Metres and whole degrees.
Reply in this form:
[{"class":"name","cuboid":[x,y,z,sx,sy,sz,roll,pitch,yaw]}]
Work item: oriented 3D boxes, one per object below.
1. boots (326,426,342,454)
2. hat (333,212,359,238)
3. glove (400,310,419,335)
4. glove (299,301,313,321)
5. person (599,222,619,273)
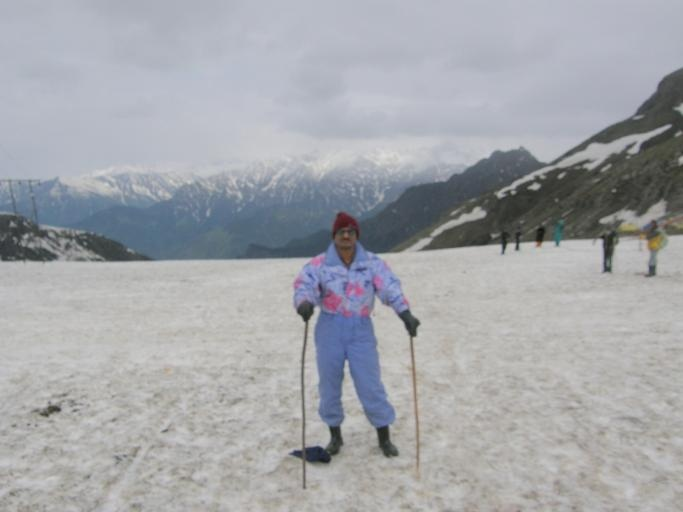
[{"class":"boots","cuboid":[-0.137,3.747,14.427,0.259,0.579,0.556,-1,2,16]},{"class":"hat","cuboid":[0.055,-0.627,14.322,0.452,0.478,0.430,-1,0,-20]},{"class":"glove","cuboid":[1.342,1.353,14.107,0.309,0.209,0.493,8,39,-17]},{"class":"glove","cuboid":[-0.701,1.063,13.847,0.233,0.350,0.117,-2,-6,5]},{"class":"person","cuboid":[9.713,-0.171,26.163,0.723,0.440,2.331,1,-35,22]}]
